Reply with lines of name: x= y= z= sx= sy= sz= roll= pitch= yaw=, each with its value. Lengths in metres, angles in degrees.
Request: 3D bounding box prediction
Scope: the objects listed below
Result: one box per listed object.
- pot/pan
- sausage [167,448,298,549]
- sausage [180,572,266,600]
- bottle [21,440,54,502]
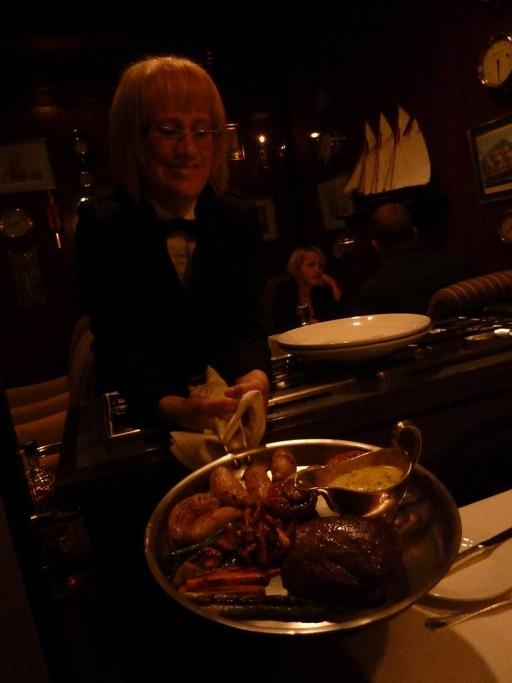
pot/pan: x=0.043 y=0.172 z=0.520 sx=0.292 sy=0.058 sz=0.256 roll=-12 pitch=13 yaw=-6
sausage: x=-0.026 y=0.156 z=0.576 sx=0.122 sy=0.029 sz=0.064 roll=-25 pitch=49 yaw=-33
sausage: x=-0.024 y=0.215 z=0.482 sx=0.050 sy=0.014 sz=0.027 roll=-2 pitch=-6 yaw=-5
bottle: x=-0.315 y=0.186 z=0.792 sx=0.032 sy=0.078 sz=0.069 roll=-17 pitch=15 yaw=-23
